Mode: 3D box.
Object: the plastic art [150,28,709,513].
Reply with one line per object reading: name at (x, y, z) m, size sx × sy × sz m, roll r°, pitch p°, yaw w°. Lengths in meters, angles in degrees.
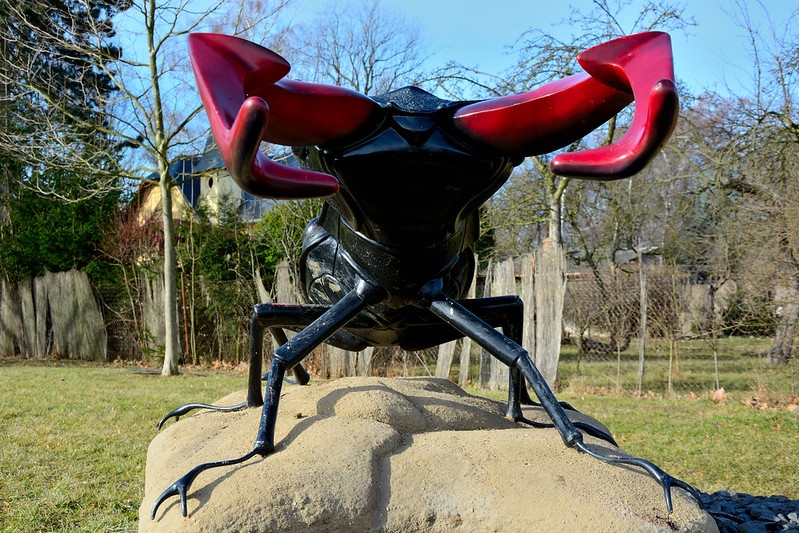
plastic art at (-0.097, -0.077, 7.401) m, size 3.852 × 3.894 × 5.505 m, roll 1°, pitch -2°, yaw -22°
